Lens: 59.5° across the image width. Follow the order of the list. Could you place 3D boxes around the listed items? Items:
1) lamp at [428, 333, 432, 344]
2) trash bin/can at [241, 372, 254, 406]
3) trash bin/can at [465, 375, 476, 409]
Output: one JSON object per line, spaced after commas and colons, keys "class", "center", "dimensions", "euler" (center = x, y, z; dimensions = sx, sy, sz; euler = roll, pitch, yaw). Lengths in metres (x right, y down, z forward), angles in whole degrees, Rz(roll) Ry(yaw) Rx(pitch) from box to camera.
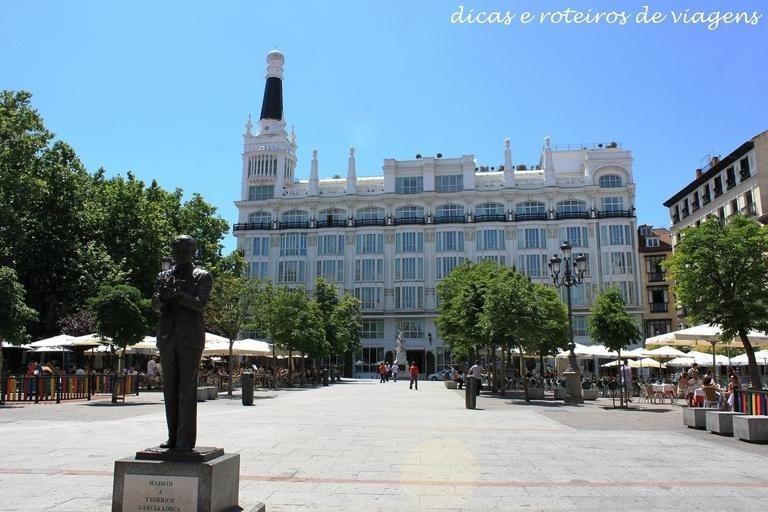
{"class": "lamp", "center": [4.949, 8.787, 71.065], "dimensions": [0.560, 1.204, 0.158], "euler": [-6, -12, 19]}
{"class": "trash bin/can", "center": [-5.969, 5.855, 29.436], "dimensions": [0.490, 1.404, 0.830], "euler": [0, -11, -11]}
{"class": "trash bin/can", "center": [3.750, 5.877, 28.864], "dimensions": [0.375, 1.378, 0.819], "euler": [-2, -11, 0]}
